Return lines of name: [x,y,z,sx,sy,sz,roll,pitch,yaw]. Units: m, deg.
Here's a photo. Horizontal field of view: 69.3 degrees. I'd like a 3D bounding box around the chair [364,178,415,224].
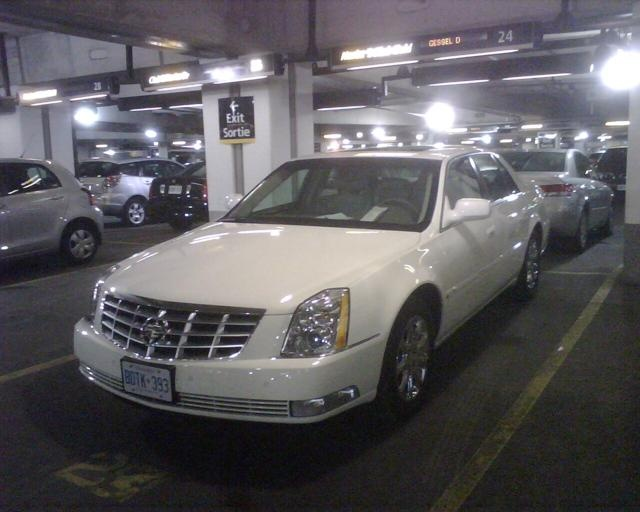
chair: [0.631,-0.446,3.883,0.307,0.205,0.508,11,29,29]
